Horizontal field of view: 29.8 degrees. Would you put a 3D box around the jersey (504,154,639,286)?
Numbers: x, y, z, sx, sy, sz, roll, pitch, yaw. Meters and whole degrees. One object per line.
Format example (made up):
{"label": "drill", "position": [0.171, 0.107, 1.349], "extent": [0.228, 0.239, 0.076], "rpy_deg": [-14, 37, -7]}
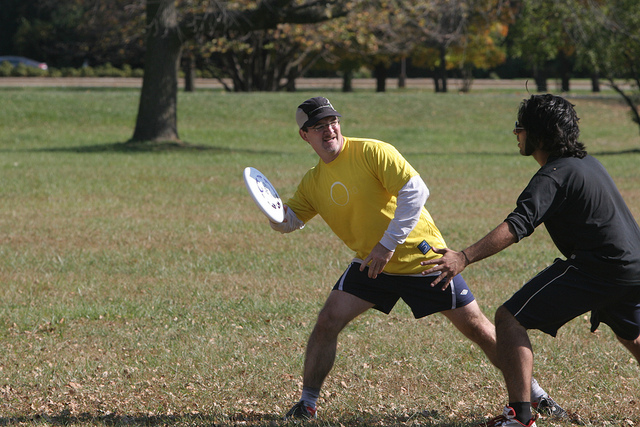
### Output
{"label": "jersey", "position": [3.330, 0.169, 16.012], "extent": [2.151, 1.348, 0.953], "rpy_deg": [-1, -3, -32]}

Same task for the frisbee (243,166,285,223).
{"label": "frisbee", "position": [-0.704, -0.226, 15.413], "extent": [0.125, 0.652, 0.652], "rpy_deg": [-31, 16, 17]}

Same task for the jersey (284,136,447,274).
{"label": "jersey", "position": [0.529, -0.005, 15.470], "extent": [1.976, 1.788, 1.333], "rpy_deg": [-15, 5, 30]}
